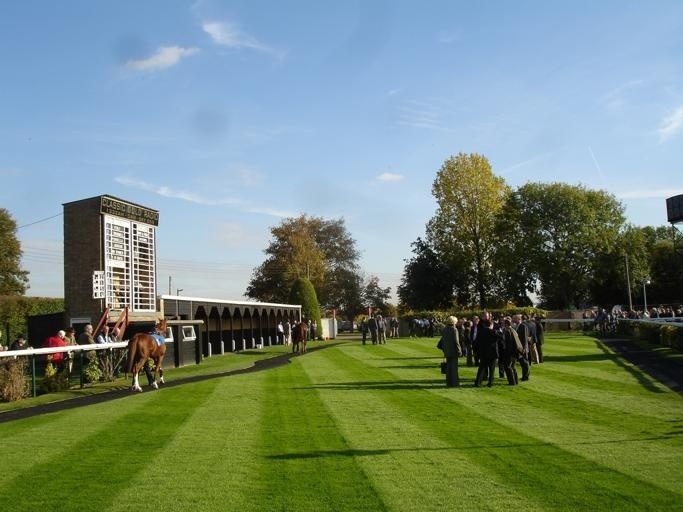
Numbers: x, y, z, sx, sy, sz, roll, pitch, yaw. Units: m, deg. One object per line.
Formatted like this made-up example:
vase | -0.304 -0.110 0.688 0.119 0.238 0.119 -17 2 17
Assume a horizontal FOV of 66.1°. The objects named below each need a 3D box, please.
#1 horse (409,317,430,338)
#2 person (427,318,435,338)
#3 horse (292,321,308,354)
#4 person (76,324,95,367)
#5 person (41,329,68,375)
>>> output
horse | 6.379 5.799 42.933 1.457 1.435 3.618 -4 -9 7
person | 7.073 5.586 41.375 0.506 1.414 1.285 -4 -8 8
horse | -2.381 4.685 30.821 0.546 1.836 2.391 2 -4 -9
person | -8.336 2.852 17.067 0.497 1.329 2.164 1 -9 -27
person | -8.550 2.856 15.677 0.563 1.276 1.857 1 -9 -28
